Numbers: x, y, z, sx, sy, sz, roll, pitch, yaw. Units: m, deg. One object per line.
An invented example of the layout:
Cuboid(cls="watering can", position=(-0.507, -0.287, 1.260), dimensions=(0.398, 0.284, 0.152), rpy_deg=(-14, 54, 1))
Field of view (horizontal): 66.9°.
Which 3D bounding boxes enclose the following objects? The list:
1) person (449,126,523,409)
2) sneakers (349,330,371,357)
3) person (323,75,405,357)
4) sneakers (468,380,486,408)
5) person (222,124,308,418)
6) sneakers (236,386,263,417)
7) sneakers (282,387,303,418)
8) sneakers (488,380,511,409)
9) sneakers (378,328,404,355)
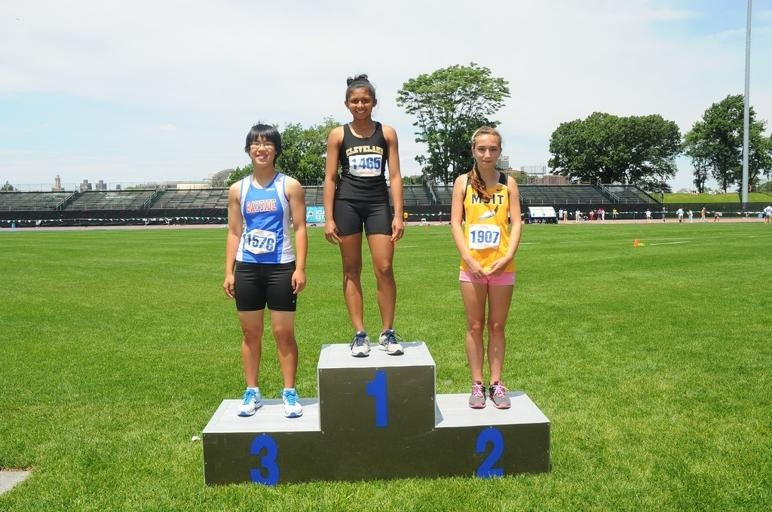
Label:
Cuboid(cls="person", position=(1.019, 0.218, 6.134), dimensions=(0.721, 3.011, 1.096), rpy_deg=(2, 14, 11))
Cuboid(cls="sneakers", position=(-0.257, 0.928, 6.015), dimensions=(0.214, 0.166, 0.425), rpy_deg=(-2, 15, -4))
Cuboid(cls="person", position=(-0.249, -0.232, 6.264), dimensions=(0.845, 2.262, 1.259), rpy_deg=(-1, 14, 0))
Cuboid(cls="sneakers", position=(0.934, 1.418, 5.953), dimensions=(0.160, 0.203, 0.229), rpy_deg=(1, 14, 9))
Cuboid(cls="person", position=(-1.225, 0.232, 6.018), dimensions=(0.852, 3.087, 1.068), rpy_deg=(-3, 14, -10))
Cuboid(cls="sneakers", position=(-1.376, 1.470, 5.906), dimensions=(0.228, 0.194, 0.300), rpy_deg=(-3, 15, -10))
Cuboid(cls="sneakers", position=(-0.937, 1.465, 5.898), dimensions=(0.189, 0.262, 0.329), rpy_deg=(-4, 15, -11))
Cuboid(cls="sneakers", position=(1.161, 1.419, 5.956), dimensions=(0.211, 0.167, 0.301), rpy_deg=(2, 15, 9))
Cuboid(cls="sneakers", position=(0.058, 0.903, 6.034), dimensions=(0.226, 0.190, 0.442), rpy_deg=(-2, 15, -6))
